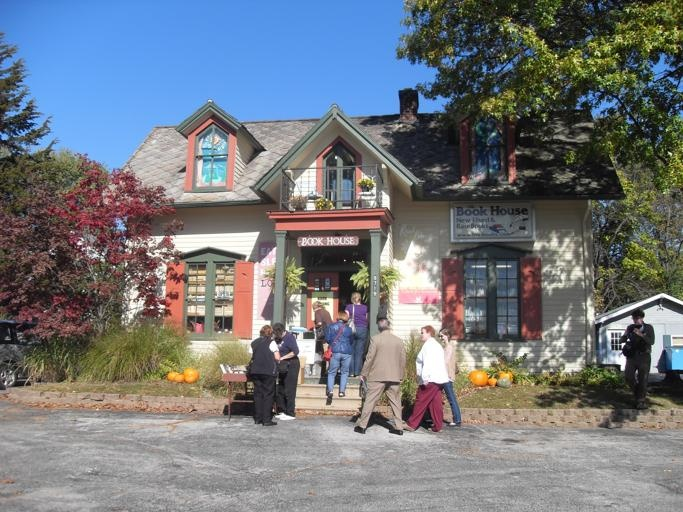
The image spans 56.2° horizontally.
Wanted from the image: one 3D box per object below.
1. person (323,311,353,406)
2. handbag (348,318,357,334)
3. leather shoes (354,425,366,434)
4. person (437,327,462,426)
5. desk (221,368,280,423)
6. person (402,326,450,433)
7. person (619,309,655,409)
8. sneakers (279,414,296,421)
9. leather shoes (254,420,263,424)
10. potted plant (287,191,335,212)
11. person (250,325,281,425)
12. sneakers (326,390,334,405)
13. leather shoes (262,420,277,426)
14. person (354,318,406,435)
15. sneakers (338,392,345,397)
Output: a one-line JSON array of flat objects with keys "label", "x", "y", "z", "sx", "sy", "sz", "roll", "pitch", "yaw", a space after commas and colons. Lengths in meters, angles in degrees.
[{"label": "person", "x": -0.048, "y": 2.402, "z": 15.077, "sx": 0.665, "sy": 2.207, "sz": 1.114, "roll": 2, "pitch": -8, "yaw": -1}, {"label": "handbag", "x": 0.259, "y": 1.659, "z": 15.238, "sx": 0.231, "sy": 0.331, "sz": 0.114, "roll": 2, "pitch": -4, "yaw": 3}, {"label": "leather shoes", "x": 0.374, "y": 3.475, "z": 12.833, "sx": 0.098, "sy": 0.125, "sz": 0.267, "roll": 2, "pitch": 0, "yaw": -25}, {"label": "person", "x": 2.433, "y": 2.787, "z": 14.438, "sx": 0.768, "sy": 2.282, "sz": 0.711, "roll": -2, "pitch": -36, "yaw": 14}, {"label": "desk", "x": -2.442, "y": 3.084, "z": 14.296, "sx": 0.737, "sy": 0.834, "sz": 1.266, "roll": 25, "pitch": -17, "yaw": -26}, {"label": "person", "x": 1.803, "y": 2.521, "z": 13.208, "sx": 0.775, "sy": 2.131, "sz": 0.416, "roll": 0, "pitch": -8, "yaw": 8}, {"label": "person", "x": 6.877, "y": 2.379, "z": 14.772, "sx": 0.492, "sy": 2.180, "sz": 0.685, "roll": 2, "pitch": -8, "yaw": -4}, {"label": "sneakers", "x": -1.187, "y": 3.484, "z": 13.906, "sx": 0.376, "sy": 0.139, "sz": 0.274, "roll": 3, "pitch": -9, "yaw": -7}, {"label": "leather shoes", "x": -1.733, "y": 3.468, "z": 13.444, "sx": 0.160, "sy": 0.113, "sz": 0.092, "roll": -1, "pitch": -12, "yaw": 3}, {"label": "potted plant", "x": -0.866, "y": -1.530, "z": 18.115, "sx": 1.295, "sy": 0.780, "sz": 1.287, "roll": 2, "pitch": -9, "yaw": 0}, {"label": "person", "x": -1.642, "y": 2.498, "z": 13.508, "sx": 0.636, "sy": 2.061, "sz": 0.448, "roll": 2, "pitch": -8, "yaw": -2}, {"label": "sneakers", "x": -0.244, "y": 3.301, "z": 14.979, "sx": 0.272, "sy": 0.369, "sz": 0.255, "roll": 1, "pitch": -14, "yaw": 0}, {"label": "leather shoes", "x": -1.476, "y": 3.468, "z": 13.301, "sx": 0.303, "sy": 0.137, "sz": 0.116, "roll": 1, "pitch": -10, "yaw": -9}, {"label": "person", "x": 0.829, "y": 2.414, "z": 12.952, "sx": 0.943, "sy": 2.283, "sz": 0.399, "roll": 1, "pitch": -8, "yaw": 4}, {"label": "sneakers", "x": 0.013, "y": 3.229, "z": 14.913, "sx": 0.085, "sy": 0.106, "sz": 0.144, "roll": 1, "pitch": -3, "yaw": 15}]
